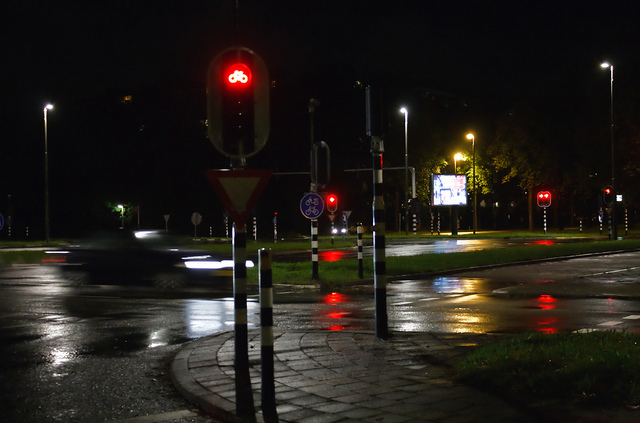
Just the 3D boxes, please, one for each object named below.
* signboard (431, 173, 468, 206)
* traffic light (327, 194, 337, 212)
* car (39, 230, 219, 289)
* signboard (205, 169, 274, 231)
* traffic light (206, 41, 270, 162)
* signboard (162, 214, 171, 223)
[{"bbox_3d":[11.352,-1.915,58.489,3.001,2.594,0.402,2,-5,-9],"label":"signboard"},{"bbox_3d":[0.693,-0.566,42.051,0.482,0.995,1.003,0,-2,-9],"label":"traffic light"},{"bbox_3d":[-5.261,1.369,18.864,4.807,1.653,0.741,-1,-2,14],"label":"car"},{"bbox_3d":[-1.034,-0.150,8.392,0.806,0.797,0.299,1,-2,-12],"label":"signboard"},{"bbox_3d":[-1.079,-1.433,8.665,0.798,1.541,0.224,0,-2,-4],"label":"traffic light"},{"bbox_3d":[-13.464,0.592,57.858,0.694,0.845,0.164,1,-4,-10],"label":"signboard"}]
